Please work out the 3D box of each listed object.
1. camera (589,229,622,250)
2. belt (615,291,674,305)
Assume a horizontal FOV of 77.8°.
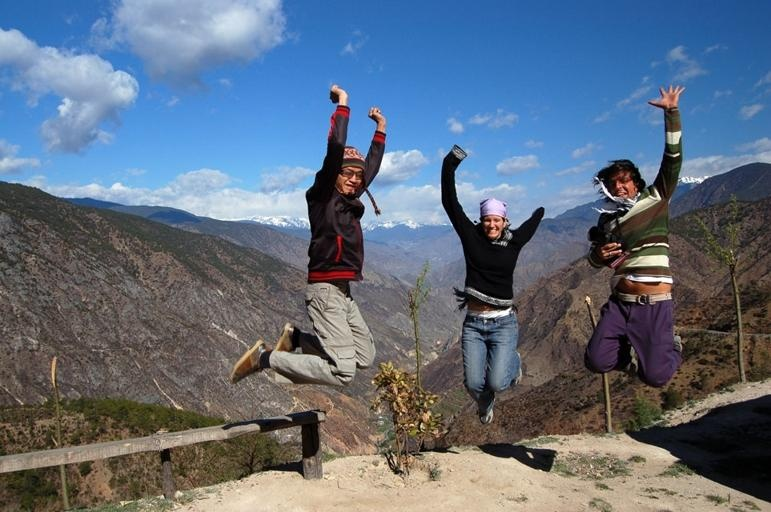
[{"bbox_3d":[5.181,-0.400,11.441,0.511,0.216,0.427,12,9,9],"label":"camera"},{"bbox_3d":[5.927,0.987,11.058,1.187,0.320,0.310,-6,-12,20],"label":"belt"}]
